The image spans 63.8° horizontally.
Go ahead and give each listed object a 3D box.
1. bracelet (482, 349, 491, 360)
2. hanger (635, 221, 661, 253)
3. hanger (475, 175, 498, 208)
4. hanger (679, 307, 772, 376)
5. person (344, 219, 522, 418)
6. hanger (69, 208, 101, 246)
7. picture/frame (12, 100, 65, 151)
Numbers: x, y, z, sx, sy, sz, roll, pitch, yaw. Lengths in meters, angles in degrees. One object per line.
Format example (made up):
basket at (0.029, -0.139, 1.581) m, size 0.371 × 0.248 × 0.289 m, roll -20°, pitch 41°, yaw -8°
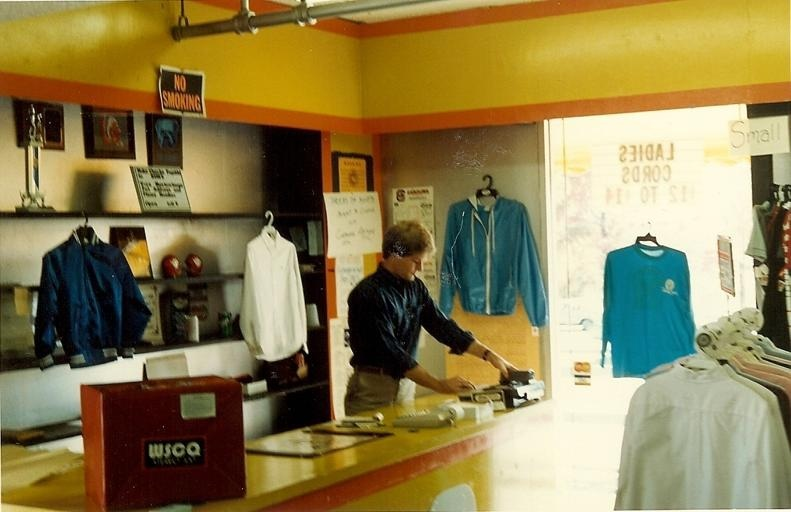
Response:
bracelet at (0.348, 0.377, 2.428) m, size 0.027 × 0.048 × 0.049 m, roll -3°, pitch 4°, yaw 5°
hanger at (0.900, -0.064, 2.261) m, size 0.110 × 0.126 × 0.005 m, roll 3°, pitch 3°, yaw 27°
hanger at (0.343, -0.249, 2.415) m, size 0.091 × 0.123 × 0.030 m, roll -1°, pitch 5°, yaw 33°
hanger at (1.208, 0.294, 2.259) m, size 0.279 × 0.223 × 0.064 m, roll -5°, pitch 4°, yaw -13°
person at (0.065, 0.272, 2.604) m, size 0.733 × 0.831 × 0.188 m, roll 0°, pitch 5°, yaw 41°
hanger at (-1.411, -0.129, 2.864) m, size 0.163 × 0.152 × 0.043 m, roll -1°, pitch 3°, yaw 12°
picture/frame at (-1.521, -0.559, 2.682) m, size 0.221 × 0.218 × 0.022 m, roll -1°, pitch 9°, yaw -32°
